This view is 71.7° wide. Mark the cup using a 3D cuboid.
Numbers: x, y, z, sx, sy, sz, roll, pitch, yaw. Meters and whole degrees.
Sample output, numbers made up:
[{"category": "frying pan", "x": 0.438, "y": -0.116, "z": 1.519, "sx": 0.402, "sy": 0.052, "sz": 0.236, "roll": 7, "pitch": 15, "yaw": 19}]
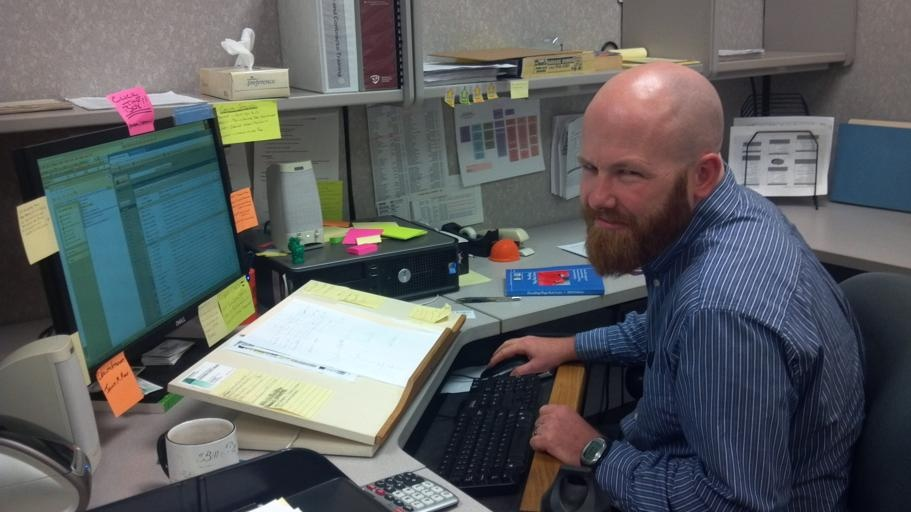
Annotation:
[{"category": "cup", "x": -0.551, "y": 0.417, "z": 1.409, "sx": 0.138, "sy": 0.119, "sz": 0.172, "roll": -1, "pitch": 1, "yaw": -11}]

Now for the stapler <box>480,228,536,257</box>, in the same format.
[{"category": "stapler", "x": 0.205, "y": -0.052, "z": 2.465, "sx": 0.190, "sy": 0.065, "sz": 0.100, "roll": 4, "pitch": 10, "yaw": 24}]

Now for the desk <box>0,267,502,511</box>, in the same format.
[{"category": "desk", "x": -0.446, "y": 0.267, "z": 1.488, "sx": 0.887, "sy": 0.208, "sz": 0.608, "roll": 2, "pitch": 12, "yaw": 2}]

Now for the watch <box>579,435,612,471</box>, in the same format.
[{"category": "watch", "x": 0.351, "y": 0.512, "z": 1.660, "sx": 0.054, "sy": 0.074, "sz": 0.083, "roll": 33, "pitch": 53, "yaw": 21}]

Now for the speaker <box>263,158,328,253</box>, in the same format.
[{"category": "speaker", "x": -0.542, "y": -0.160, "z": 2.048, "sx": 0.185, "sy": 0.271, "sz": 0.179, "roll": -6, "pitch": 21, "yaw": -3}]

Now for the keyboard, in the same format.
[{"category": "keyboard", "x": 0.102, "y": 0.500, "z": 1.814, "sx": 0.227, "sy": 0.067, "sz": 0.441, "roll": -13, "pitch": 22, "yaw": 18}]

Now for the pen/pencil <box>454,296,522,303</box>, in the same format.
[{"category": "pen/pencil", "x": 0.109, "y": 0.145, "z": 2.097, "sx": 0.148, "sy": 0.015, "sz": 0.016, "roll": -1, "pitch": -25, "yaw": -6}]
